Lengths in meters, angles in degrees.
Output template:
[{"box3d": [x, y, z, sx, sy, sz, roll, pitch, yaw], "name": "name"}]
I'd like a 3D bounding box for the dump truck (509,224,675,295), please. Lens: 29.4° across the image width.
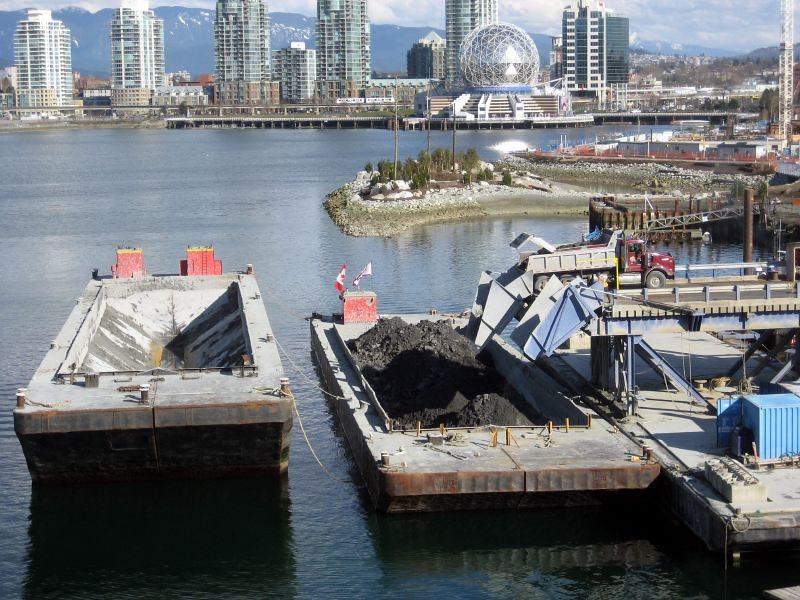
[{"box3d": [8.113, -1.330, 60.769, 7.103, 2.357, 2.582, -5, 17, -12], "name": "dump truck"}]
